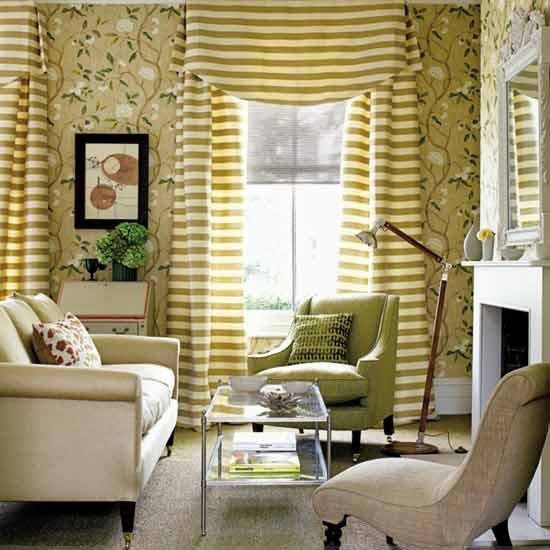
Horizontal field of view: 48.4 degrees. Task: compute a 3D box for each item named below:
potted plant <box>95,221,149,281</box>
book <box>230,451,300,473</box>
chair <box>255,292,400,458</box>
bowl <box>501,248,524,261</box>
[{"bbox_3d":[-1.041,-0.167,4.220,0.372,0.428,0.347,0,3,-35],"label":"potted plant"},{"bbox_3d":[-0.046,0.789,2.566,0.284,0.062,0.139,0,2,-5],"label":"book"},{"bbox_3d":[0.422,0.546,3.748,0.745,1.095,0.934,-1,-10,20],"label":"chair"},{"bbox_3d":[1.212,-0.108,3.116,0.109,0.065,0.260,1,2,16],"label":"bowl"}]
